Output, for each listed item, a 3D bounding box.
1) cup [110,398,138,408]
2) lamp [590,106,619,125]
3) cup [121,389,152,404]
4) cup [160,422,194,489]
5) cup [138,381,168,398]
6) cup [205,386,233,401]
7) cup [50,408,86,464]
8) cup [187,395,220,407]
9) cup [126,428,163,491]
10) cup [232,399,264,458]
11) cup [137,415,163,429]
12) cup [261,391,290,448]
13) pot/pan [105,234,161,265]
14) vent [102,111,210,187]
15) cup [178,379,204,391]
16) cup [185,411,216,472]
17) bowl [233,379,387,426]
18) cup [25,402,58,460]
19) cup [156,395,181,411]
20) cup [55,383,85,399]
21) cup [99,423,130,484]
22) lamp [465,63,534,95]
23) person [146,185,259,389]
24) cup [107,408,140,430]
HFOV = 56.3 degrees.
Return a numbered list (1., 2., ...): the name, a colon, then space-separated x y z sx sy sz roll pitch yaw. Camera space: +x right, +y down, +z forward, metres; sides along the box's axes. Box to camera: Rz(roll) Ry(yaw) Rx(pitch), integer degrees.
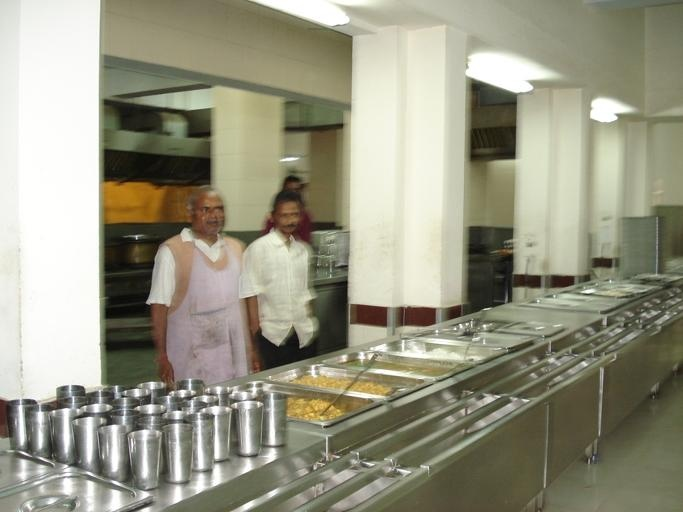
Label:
1. cup: -0.630 0.430 1.865 0.074 0.032 0.038 0 8 -17
2. lamp: 2.168 -1.160 5.305 0.236 0.113 0.048 1 8 -7
3. cup: -0.621 0.423 1.944 0.063 0.039 0.046 4 2 12
4. cup: -0.437 0.528 1.710 0.073 0.151 0.055 0 9 -16
5. cup: -0.602 0.416 2.015 0.059 0.040 0.052 4 5 30
6. cup: -0.383 0.435 2.029 0.086 0.028 0.050 4 -3 -27
7. cup: -0.748 0.498 1.784 0.112 0.150 0.102 3 7 0
8. cup: -0.417 0.442 1.951 0.085 0.035 0.097 1 7 -10
9. cup: -0.510 0.533 1.681 0.089 0.142 0.089 2 8 0
10. cup: -0.277 0.521 1.913 0.109 0.142 0.109 -2 -7 0
11. cup: -0.528 0.447 1.740 0.044 0.027 0.039 0 6 -8
12. cup: -0.212 0.515 1.971 0.134 0.133 0.125 -1 -12 0
13. pot/pan: -0.826 -0.018 2.533 0.069 0.131 0.271 5 8 20
14. vent: -0.760 -0.444 2.593 0.115 0.300 0.481 6 8 26
15. cup: -0.486 0.415 2.073 0.060 0.037 0.043 2 -2 0
16. cup: -0.366 0.525 1.805 0.129 0.152 0.102 -3 -13 4
17. bowl: -0.099 0.541 2.361 0.364 0.039 0.213 2 1 32
18. cup: -0.863 0.514 1.794 0.084 0.129 0.079 -11 -30 -7
19. cup: -0.519 0.440 1.916 0.057 0.037 0.042 6 -9 -37
20. cup: -0.829 0.404 1.953 0.063 0.041 0.060 2 -3 0
21. cup: -0.597 0.520 1.681 0.076 0.148 0.045 0 9 -18
22. lamp: 1.077 -1.228 4.431 0.540 0.118 0.040 -1 46 -45
23. person: -0.600 0.138 2.808 0.138 0.864 0.537 7 10 31
24. cup: -0.606 0.450 1.777 0.067 0.042 0.058 0 -1 28
